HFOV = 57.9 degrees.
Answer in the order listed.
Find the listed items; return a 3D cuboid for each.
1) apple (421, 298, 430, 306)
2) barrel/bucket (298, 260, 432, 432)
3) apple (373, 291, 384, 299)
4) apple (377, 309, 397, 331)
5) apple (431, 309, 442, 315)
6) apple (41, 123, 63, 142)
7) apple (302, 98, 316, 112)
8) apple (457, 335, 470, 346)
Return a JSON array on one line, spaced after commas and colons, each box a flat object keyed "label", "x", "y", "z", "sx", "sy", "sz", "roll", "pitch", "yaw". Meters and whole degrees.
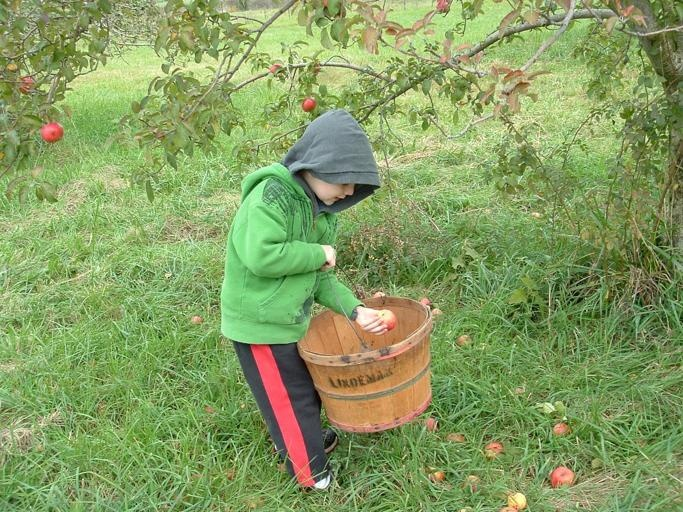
[{"label": "apple", "x": 0.551, "y": 0.296, "z": 3.990, "sx": 0.063, "sy": 0.047, "sz": 0.069, "roll": -4, "pitch": -14, "yaw": -3}, {"label": "barrel/bucket", "x": 0.166, "y": 0.544, "z": 3.102, "sx": 0.654, "sy": 0.527, "sz": 0.696, "roll": -11, "pitch": 16, "yaw": 3}, {"label": "apple", "x": 0.221, "y": 0.225, "z": 3.606, "sx": 0.047, "sy": 0.053, "sz": 0.053, "roll": -6, "pitch": 3, "yaw": 7}, {"label": "apple", "x": 0.226, "y": 0.302, "z": 2.989, "sx": 0.094, "sy": 0.091, "sz": 0.093, "roll": -10, "pitch": 11, "yaw": 12}, {"label": "apple", "x": 0.619, "y": 0.360, "z": 3.989, "sx": 0.062, "sy": 0.027, "sz": 0.059, "roll": 0, "pitch": 13, "yaw": 1}, {"label": "apple", "x": -1.279, "y": -0.545, "z": 2.730, "sx": 0.087, "sy": 0.081, "sz": 0.252, "roll": -22, "pitch": 20, "yaw": -19}, {"label": "apple", "x": -0.194, "y": -0.897, "z": 3.689, "sx": 0.078, "sy": 0.075, "sz": 0.076, "roll": -1, "pitch": -8, "yaw": 0}, {"label": "apple", "x": 0.752, "y": 0.512, "z": 3.771, "sx": 0.059, "sy": 0.060, "sz": 0.072, "roll": -12, "pitch": 2, "yaw": 30}]
